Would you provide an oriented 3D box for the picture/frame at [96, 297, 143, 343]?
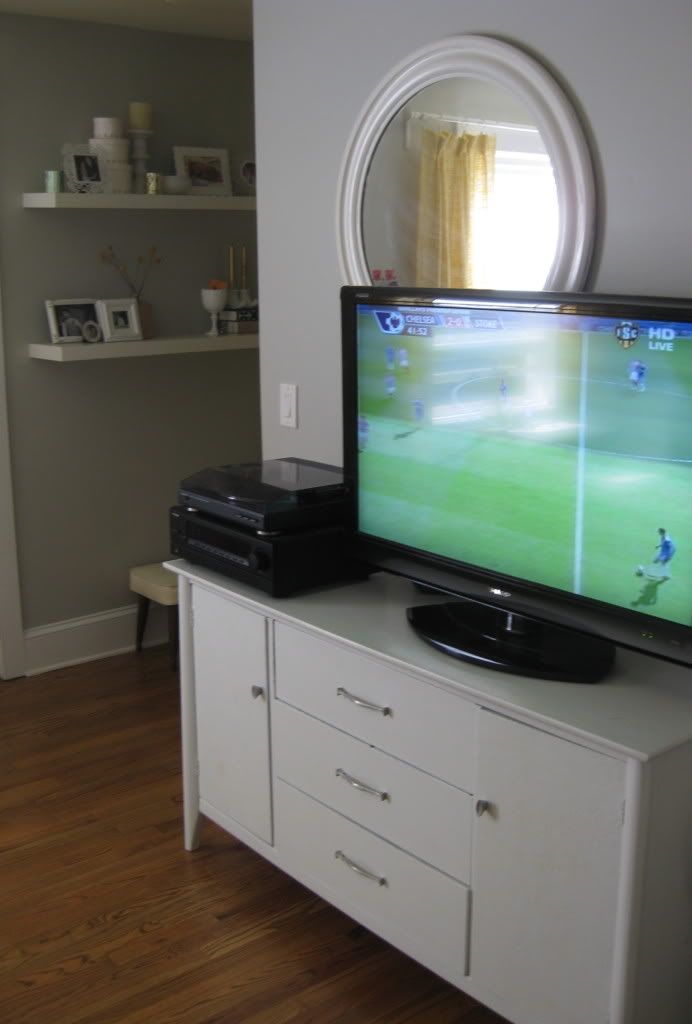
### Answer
[{"bbox_3d":[-0.871,-0.728,3.185,0.180,0.189,0.069,-5,-3,-38],"label":"picture/frame"}]

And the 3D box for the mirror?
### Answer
[{"bbox_3d":[0.241,-0.650,1.547,0.026,0.444,0.571,-3,17,-30],"label":"mirror"}]

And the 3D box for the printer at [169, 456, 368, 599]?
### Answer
[{"bbox_3d":[-0.181,0.024,1.920,0.336,0.209,0.422,-9,17,-36],"label":"printer"}]
